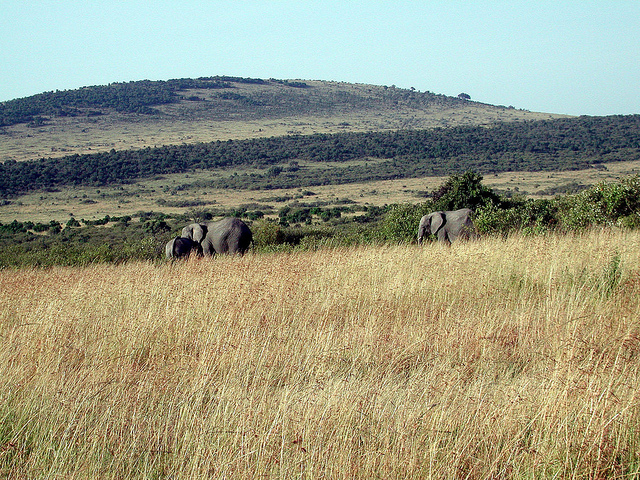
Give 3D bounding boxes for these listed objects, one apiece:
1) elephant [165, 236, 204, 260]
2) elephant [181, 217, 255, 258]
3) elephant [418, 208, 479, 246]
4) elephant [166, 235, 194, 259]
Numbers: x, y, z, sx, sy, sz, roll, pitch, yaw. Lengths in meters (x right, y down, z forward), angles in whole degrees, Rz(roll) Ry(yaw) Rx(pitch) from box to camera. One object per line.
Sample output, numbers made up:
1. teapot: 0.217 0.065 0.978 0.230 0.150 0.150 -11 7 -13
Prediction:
1. elephant: -4.372 0.203 21.831 0.556 0.771 1.189 6 13 39
2. elephant: -3.616 -0.146 22.091 2.539 1.690 1.081 1 -3 25
3. elephant: 3.876 -0.154 20.738 2.250 1.409 1.019 1 -1 41
4. elephant: -4.445 0.243 21.586 0.877 0.549 0.968 -7 7 -13
